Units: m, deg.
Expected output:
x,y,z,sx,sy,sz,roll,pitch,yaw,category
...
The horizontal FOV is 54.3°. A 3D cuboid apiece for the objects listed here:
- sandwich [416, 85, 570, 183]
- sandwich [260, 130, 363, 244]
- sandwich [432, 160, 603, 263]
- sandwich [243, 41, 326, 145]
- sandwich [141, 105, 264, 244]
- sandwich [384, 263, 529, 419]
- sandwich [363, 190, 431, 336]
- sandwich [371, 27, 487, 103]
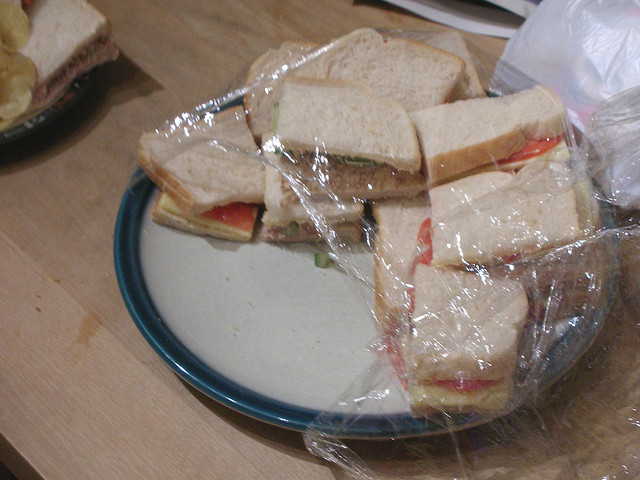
x,y,z,sx,sy,sz,roll,pitch,yaw,category
0.191,-0.118,0.724,0.154,0.041,0.104,-8,69,-2,sandwich
-0.011,-0.060,0.730,0.113,0.078,0.135,0,76,0,sandwich
0.209,-0.036,0.681,0.184,0.038,0.094,-11,80,-1,sandwich
-0.049,-0.179,0.780,0.117,0.029,0.127,-19,92,-30,sandwich
-0.152,-0.073,0.797,0.165,0.100,0.164,-7,79,0,sandwich
0.148,0.096,0.709,0.163,0.069,0.211,0,32,1,sandwich
0.084,0.031,0.695,0.071,0.035,0.153,3,80,28,sandwich
0.138,-0.209,0.805,0.105,0.047,0.128,-4,51,-22,sandwich
